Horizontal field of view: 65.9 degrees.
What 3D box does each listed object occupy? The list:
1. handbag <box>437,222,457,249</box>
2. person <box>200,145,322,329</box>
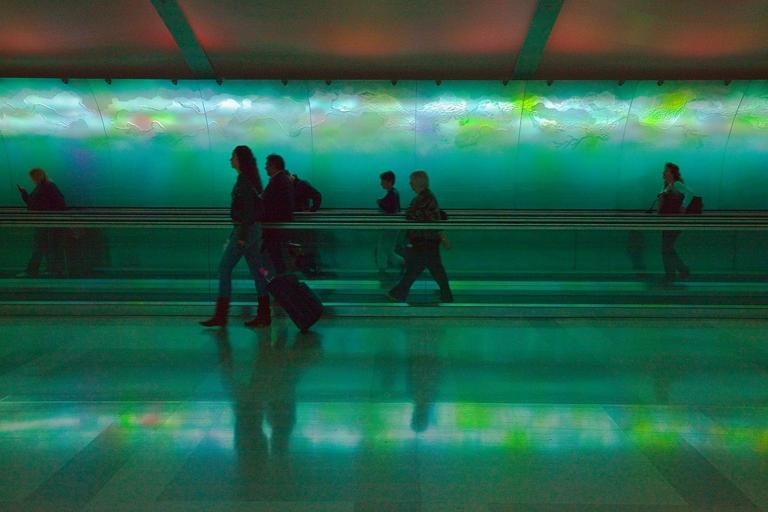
[{"bbox_3d":[0.991,-0.258,9.397,0.277,0.284,0.133,-2,-10,-12],"label":"handbag"},{"bbox_3d":[-2.022,-0.207,9.139,1.493,2.769,1.139,-11,-12,36],"label":"person"}]
